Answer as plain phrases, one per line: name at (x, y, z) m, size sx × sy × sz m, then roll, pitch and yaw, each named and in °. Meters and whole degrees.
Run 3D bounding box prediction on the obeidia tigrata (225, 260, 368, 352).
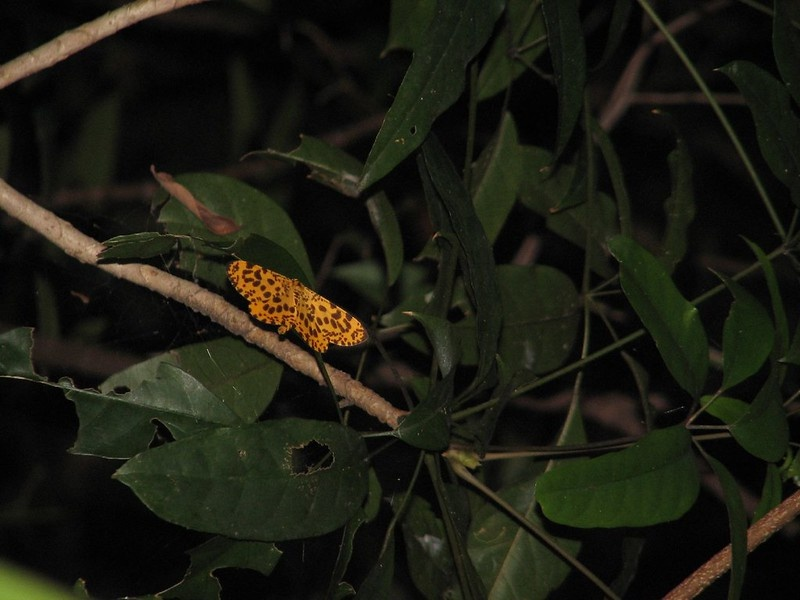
obeidia tigrata at (-0.124, 0.027, 1.173) m, size 0.159 × 0.149 × 0.112 m, roll -8°, pitch 27°, yaw -26°
